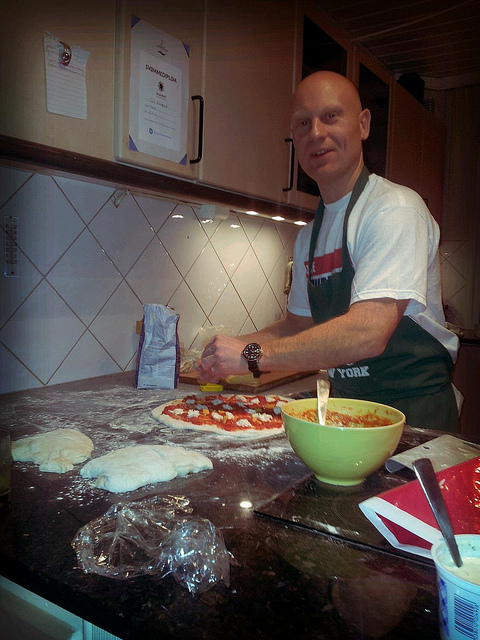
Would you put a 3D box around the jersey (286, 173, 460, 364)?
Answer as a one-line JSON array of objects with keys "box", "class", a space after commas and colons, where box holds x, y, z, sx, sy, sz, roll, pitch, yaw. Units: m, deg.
[{"box": [0.311, -0.131, 1.179, 0.298, 0.497, 0.520, -7, 1, -17], "class": "jersey"}]

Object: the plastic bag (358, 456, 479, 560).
[{"box": [0.226, 0.184, 0.525, 0.139, 0.045, 0.093, -15, 15, -41], "class": "plastic bag"}]

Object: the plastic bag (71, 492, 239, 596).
[{"box": [-0.101, 0.232, 0.501, 0.157, 0.022, 0.230, 0, 2, -22], "class": "plastic bag"}]

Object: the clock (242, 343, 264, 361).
[{"box": [0.031, 0.070, 1.032, 0.024, 0.038, 0.057, 0, 2, -42], "class": "clock"}]

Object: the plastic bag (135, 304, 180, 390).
[{"box": [-0.260, 0.083, 1.466, 0.136, 0.268, 0.039, 4, -1, -14], "class": "plastic bag"}]

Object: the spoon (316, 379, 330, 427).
[{"box": [0.136, 0.131, 0.741, 0.026, 0.005, 0.112, 19, 33, 0], "class": "spoon"}]

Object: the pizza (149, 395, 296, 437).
[{"box": [-0.038, 0.219, 1.151, 0.328, 0.022, 0.427, 1, 2, 10], "class": "pizza"}]

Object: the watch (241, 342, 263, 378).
[{"box": [0.040, 0.088, 1.055, 0.047, 0.067, 0.070, -1, 36, 4], "class": "watch"}]
